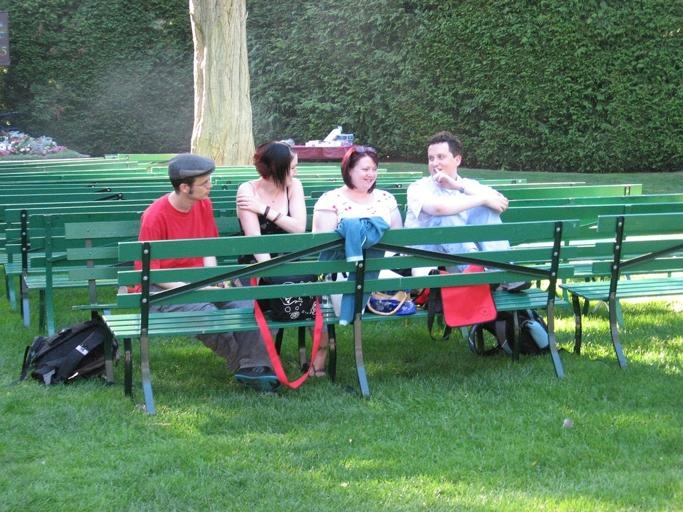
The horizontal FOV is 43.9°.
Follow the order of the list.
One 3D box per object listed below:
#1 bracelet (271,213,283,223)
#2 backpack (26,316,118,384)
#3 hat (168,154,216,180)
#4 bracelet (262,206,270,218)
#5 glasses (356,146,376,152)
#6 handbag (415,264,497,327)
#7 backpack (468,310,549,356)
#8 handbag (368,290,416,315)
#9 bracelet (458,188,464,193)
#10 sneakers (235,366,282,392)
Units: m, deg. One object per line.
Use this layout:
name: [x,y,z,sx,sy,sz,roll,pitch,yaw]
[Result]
bracelet: [-0.535,-0.321,7.077,0.078,0.020,0.083,-36,-1,10]
backpack: [-2.185,0.818,6.831,0.602,0.489,0.242,-18,-36,-9]
hat: [-1.194,-0.708,6.625,0.257,0.112,0.235,-15,30,-14]
bracelet: [-0.624,-0.373,7.109,0.052,0.075,0.082,19,-21,1]
glasses: [0.197,-0.870,6.948,0.177,0.077,0.103,-2,5,-3]
handbag: [1.002,0.311,6.753,0.461,0.482,0.152,-3,-2,-9]
backpack: [1.446,0.679,7.330,0.526,0.366,0.404,-3,-6,31]
handbag: [0.410,0.372,6.830,0.275,0.124,0.207,-1,0,11]
bracelet: [1.036,-0.566,7.258,0.046,0.035,0.026,1,21,-3]
sneakers: [-0.648,0.966,6.681,0.349,0.167,0.154,18,34,-3]
